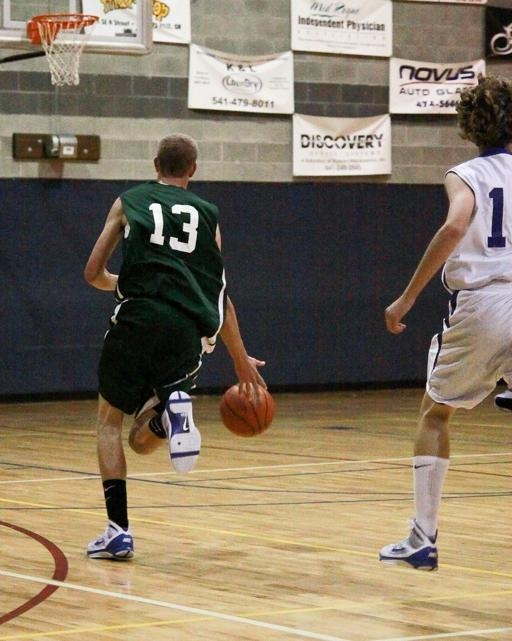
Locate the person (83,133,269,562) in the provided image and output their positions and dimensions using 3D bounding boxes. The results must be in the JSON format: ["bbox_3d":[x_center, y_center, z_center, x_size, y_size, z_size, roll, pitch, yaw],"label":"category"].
[{"bbox_3d":[-0.282,0.153,2.823,0.505,1.191,0.548,1,13,14],"label":"person"}]

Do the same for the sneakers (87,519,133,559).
[{"bbox_3d":[-0.456,0.722,2.836,0.208,0.120,0.081,-2,-10,40],"label":"sneakers"}]

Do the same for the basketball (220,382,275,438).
[{"bbox_3d":[-0.024,0.317,3.078,0.197,0.190,0.177,5,-25,-33],"label":"basketball"}]

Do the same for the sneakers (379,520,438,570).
[{"bbox_3d":[0.441,0.651,2.518,0.068,0.154,0.191,-15,17,-43],"label":"sneakers"}]

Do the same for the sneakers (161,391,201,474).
[{"bbox_3d":[-0.241,0.343,2.661,0.103,0.247,0.105,-6,-11,-29],"label":"sneakers"}]
